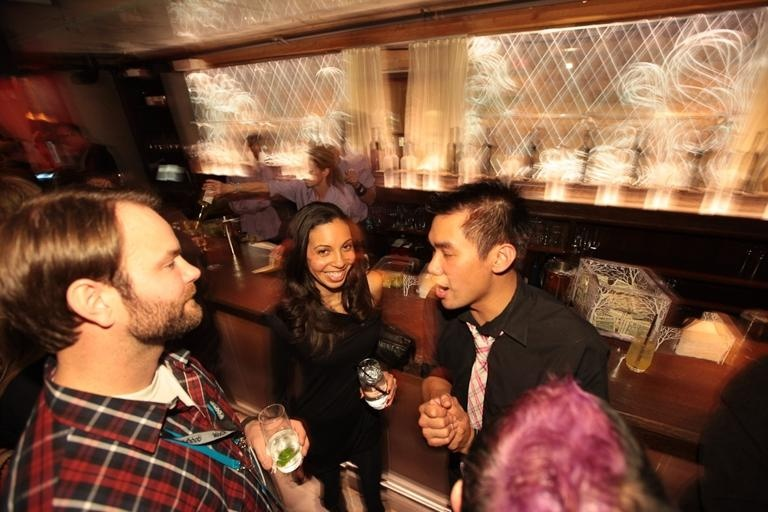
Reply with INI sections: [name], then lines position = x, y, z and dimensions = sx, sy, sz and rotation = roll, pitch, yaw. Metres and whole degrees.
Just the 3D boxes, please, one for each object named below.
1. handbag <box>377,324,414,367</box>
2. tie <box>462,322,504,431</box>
[handbag]
position = 0.091, 0.793, 3.827
dimensions = 0.299, 0.291, 0.118
rotation = 26, -11, 16
[tie]
position = 0.750, 0.963, 3.504
dimensions = 0.285, 0.761, 0.045
rotation = 3, 0, 43
